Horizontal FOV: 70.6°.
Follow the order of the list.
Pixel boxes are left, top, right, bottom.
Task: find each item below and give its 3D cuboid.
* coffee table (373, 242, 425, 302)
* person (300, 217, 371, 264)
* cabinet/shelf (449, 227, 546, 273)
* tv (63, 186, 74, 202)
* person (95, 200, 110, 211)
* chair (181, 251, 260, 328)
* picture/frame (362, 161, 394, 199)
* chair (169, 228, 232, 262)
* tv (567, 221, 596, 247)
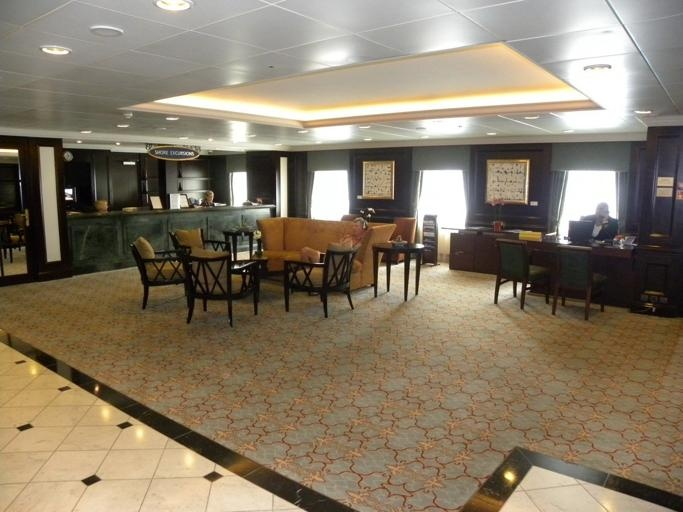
[{"bbox_3d":[0.922,0.236,8.560,1.318,0.995,1.074,0,3,-4],"label":"coffee table"},{"bbox_3d":[-0.145,-0.258,8.047,1.178,0.981,0.824,8,15,24],"label":"person"},{"bbox_3d":[2.909,-0.108,10.388,1.721,0.633,1.037,5,9,42],"label":"cabinet/shelf"},{"bbox_3d":[-7.836,-1.774,13.912,0.186,0.447,0.536,-3,14,-14],"label":"tv"},{"bbox_3d":[-5.327,-1.099,10.747,0.214,0.262,0.887,-7,14,-28],"label":"person"},{"bbox_3d":[-1.839,0.433,7.216,0.989,0.853,0.999,0,0,15],"label":"chair"},{"bbox_3d":[0.953,-1.960,12.511,0.971,0.958,0.225,13,20,40],"label":"picture/frame"},{"bbox_3d":[-2.673,-0.214,8.980,1.173,0.841,0.855,6,9,39],"label":"chair"},{"bbox_3d":[3.918,-0.380,8.067,0.554,0.407,0.433,5,8,40],"label":"tv"}]
